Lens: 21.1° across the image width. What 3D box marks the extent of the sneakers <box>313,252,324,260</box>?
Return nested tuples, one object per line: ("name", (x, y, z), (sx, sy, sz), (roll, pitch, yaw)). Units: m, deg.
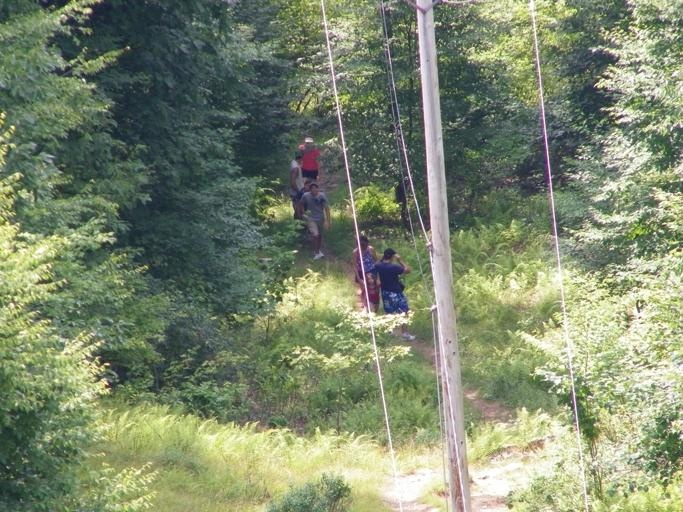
("sneakers", (-0.609, 0.009, 45.443), (0.201, 0.133, 0.218), (-19, -11, 11))
